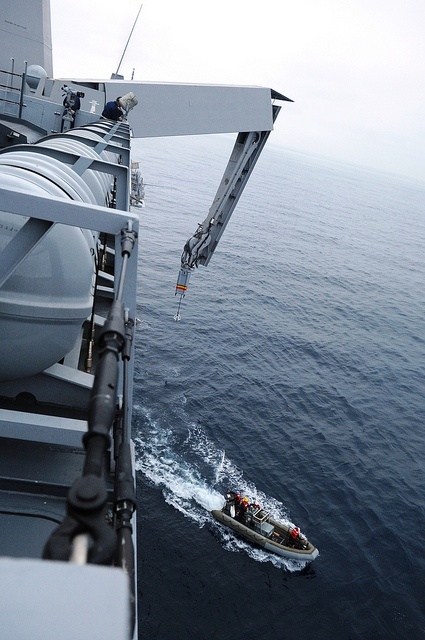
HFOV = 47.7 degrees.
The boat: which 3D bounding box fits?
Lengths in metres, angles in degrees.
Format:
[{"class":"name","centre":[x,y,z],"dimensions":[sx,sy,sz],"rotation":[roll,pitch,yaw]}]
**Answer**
[{"class":"boat","centre":[2.634,10.011,22.715],"dimensions":[4.765,2.011,2.187],"rotation":[24,13,18]}]
